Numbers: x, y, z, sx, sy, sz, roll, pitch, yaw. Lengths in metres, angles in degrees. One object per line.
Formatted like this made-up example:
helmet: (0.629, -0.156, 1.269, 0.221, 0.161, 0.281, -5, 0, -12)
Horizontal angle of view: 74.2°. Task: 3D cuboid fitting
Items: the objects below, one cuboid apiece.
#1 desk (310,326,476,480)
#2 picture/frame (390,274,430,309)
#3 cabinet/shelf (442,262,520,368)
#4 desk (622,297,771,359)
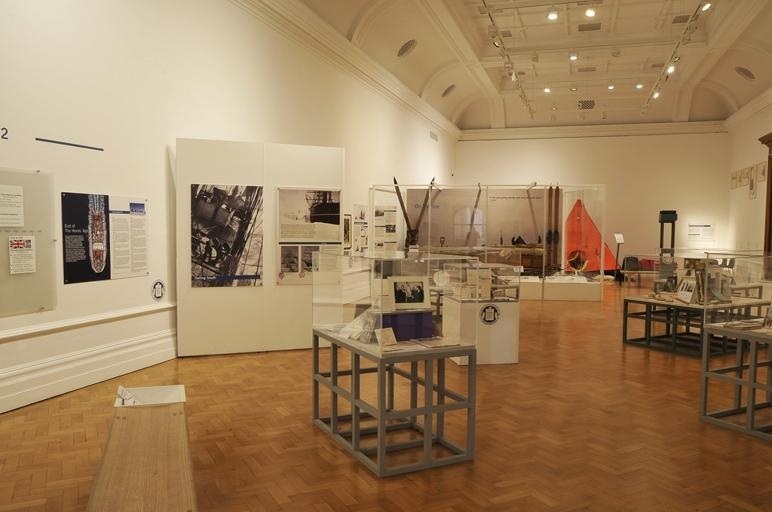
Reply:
desk: (0.088, 0.974, 5.458, 1.222, 1.347, 2.121, 1, 0, -25)
picture/frame: (0.219, 0.360, 5.070, 0.340, 0.277, 0.021, 0, -6, -19)
cabinet/shelf: (1.599, 0.889, 8.015, 1.556, 1.533, 1.567, -1, -6, -6)
desk: (5.091, 1.208, 9.117, 1.228, 0.833, 1.793, 1, 0, -17)
